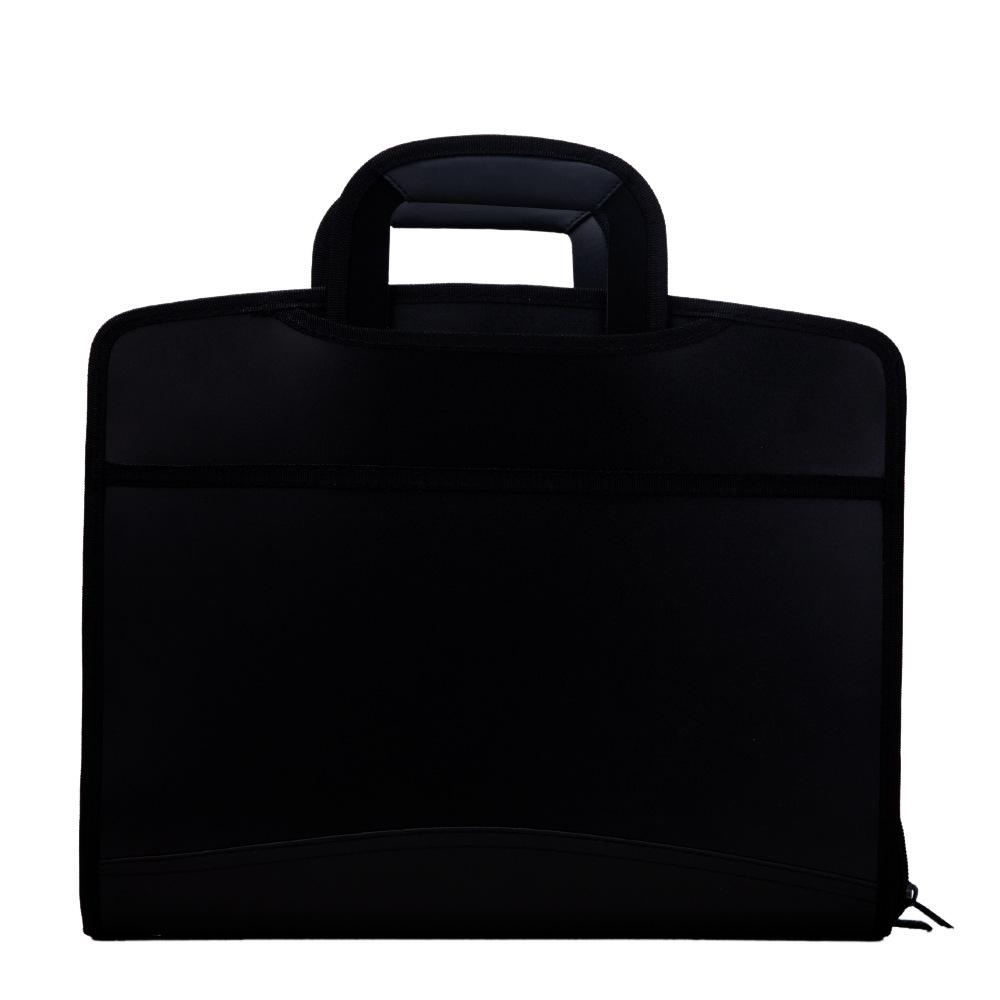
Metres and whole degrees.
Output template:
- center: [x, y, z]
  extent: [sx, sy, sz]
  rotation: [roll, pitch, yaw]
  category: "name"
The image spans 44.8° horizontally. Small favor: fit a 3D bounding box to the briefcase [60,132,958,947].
- center: [-0.052, 0.126, 1.627]
  extent: [1.046, 0.415, 0.951]
  rotation: [0, -93, -3]
  category: "briefcase"
